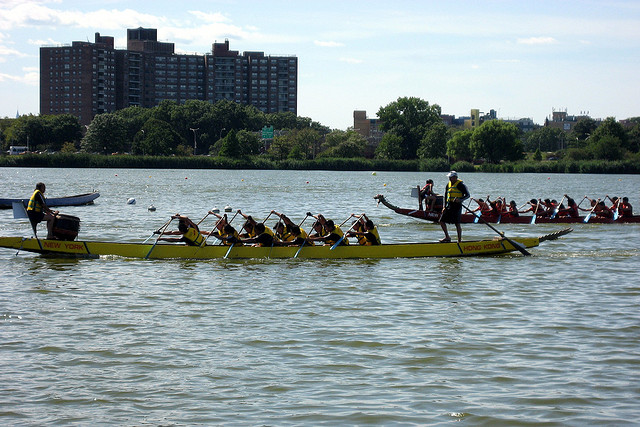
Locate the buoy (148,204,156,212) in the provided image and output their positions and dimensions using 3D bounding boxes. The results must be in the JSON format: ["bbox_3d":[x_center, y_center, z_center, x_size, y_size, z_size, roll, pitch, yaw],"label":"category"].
[{"bbox_3d":[-9.387,-0.260,68.971,0.428,0.461,1.130,-2,3,-6],"label":"buoy"}]

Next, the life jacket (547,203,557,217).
[{"bbox_3d":[12.025,-0.122,63.505,0.487,0.667,0.442,2,4,6],"label":"life jacket"}]

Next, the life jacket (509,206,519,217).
[{"bbox_3d":[10.088,-0.026,63.812,0.463,0.493,0.309,2,4,7],"label":"life jacket"}]

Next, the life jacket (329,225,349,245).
[{"bbox_3d":[0.866,0.950,53.473,0.859,0.814,0.448,2,4,-1],"label":"life jacket"}]

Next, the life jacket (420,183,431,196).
[{"bbox_3d":[5.318,-1.145,61.563,0.529,0.566,0.327,5,5,40],"label":"life jacket"}]

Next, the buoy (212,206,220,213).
[{"bbox_3d":[-5.765,-0.133,68.532,0.327,0.288,0.310,0,-4,-6],"label":"buoy"}]

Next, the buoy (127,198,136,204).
[{"bbox_3d":[-11.062,-0.676,72.058,0.381,0.194,0.515,-1,5,-31],"label":"buoy"}]

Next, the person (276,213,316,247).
[{"bbox_3d":[-1.075,0.807,53.344,1.551,0.785,1.449,1,25,-2],"label":"person"}]

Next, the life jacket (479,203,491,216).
[{"bbox_3d":[8.592,-0.153,64.005,0.535,0.598,0.940,2,3,7],"label":"life jacket"}]

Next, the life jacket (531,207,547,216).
[{"bbox_3d":[11.401,-0.084,63.855,0.433,0.491,0.562,-10,-45,41],"label":"life jacket"}]

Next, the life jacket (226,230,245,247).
[{"bbox_3d":[-3.692,1.163,52.982,0.207,0.684,0.517,-31,16,-29],"label":"life jacket"}]

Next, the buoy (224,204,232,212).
[{"bbox_3d":[-5.259,-0.243,70.884,0.431,0.489,1.426,1,3,-3],"label":"buoy"}]

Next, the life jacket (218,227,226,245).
[{"bbox_3d":[-4.183,1.025,53.268,0.200,0.499,0.463,-5,-10,-39],"label":"life jacket"}]

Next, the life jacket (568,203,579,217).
[{"bbox_3d":[13.109,-0.112,63.335,0.679,0.649,0.358,-1,4,-38],"label":"life jacket"}]

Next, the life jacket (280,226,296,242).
[{"bbox_3d":[-1.420,0.957,53.526,0.606,0.770,0.447,-1,-7,-3],"label":"life jacket"}]

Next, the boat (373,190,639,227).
[{"bbox_3d":[10.003,-0.188,66.650,12.788,1.624,1.163,5,17,0],"label":"boat"}]

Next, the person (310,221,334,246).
[{"bbox_3d":[0.100,0.922,53.912,1.019,0.934,0.440,-1,9,29],"label":"person"}]
